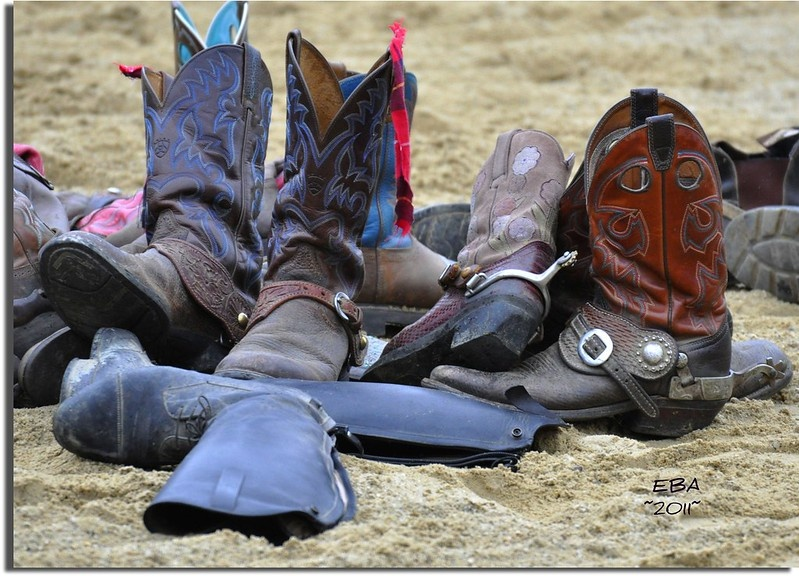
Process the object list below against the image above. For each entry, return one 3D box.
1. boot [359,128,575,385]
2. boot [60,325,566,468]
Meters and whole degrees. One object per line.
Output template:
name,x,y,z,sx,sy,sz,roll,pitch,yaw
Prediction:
boot,0.235,-0.047,3.158,0.297,0.712,0.724,28,-29,-25
boot,-0.233,0.342,2.704,1.223,0.332,0.455,3,12,-12
